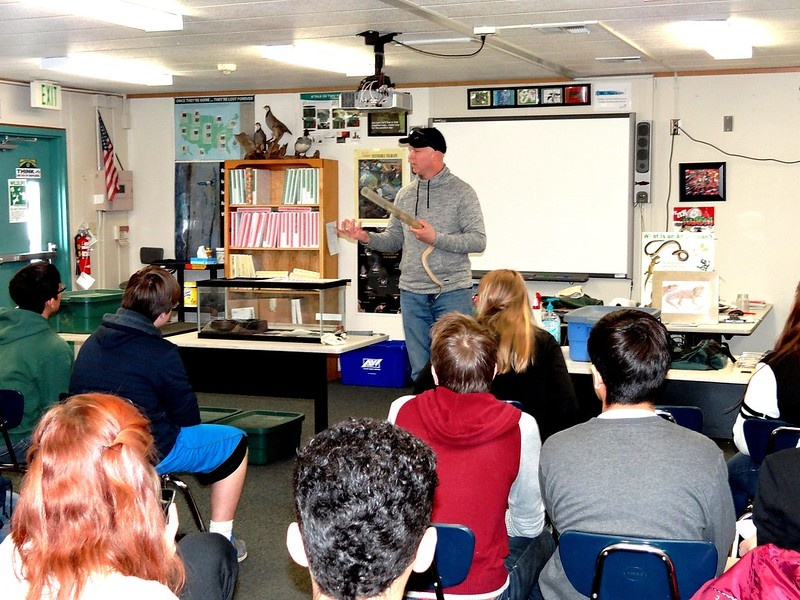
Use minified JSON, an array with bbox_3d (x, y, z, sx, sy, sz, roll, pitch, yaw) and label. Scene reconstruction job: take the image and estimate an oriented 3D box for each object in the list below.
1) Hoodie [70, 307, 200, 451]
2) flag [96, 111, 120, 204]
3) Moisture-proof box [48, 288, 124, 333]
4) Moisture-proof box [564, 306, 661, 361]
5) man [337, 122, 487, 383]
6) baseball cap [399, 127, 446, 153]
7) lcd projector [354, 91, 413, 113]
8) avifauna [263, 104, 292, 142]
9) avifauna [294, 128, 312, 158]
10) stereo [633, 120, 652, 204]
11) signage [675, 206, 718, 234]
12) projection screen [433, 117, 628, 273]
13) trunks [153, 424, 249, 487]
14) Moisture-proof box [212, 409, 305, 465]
[{"bbox_3d":[-1.320,0.415,3.007,0.520,0.721,0.224,0,12,3],"label":"Hoodie"},{"bbox_3d":[-3.876,-1.885,8.053,0.167,1.172,0.236,1,12,11],"label":"flag"},{"bbox_3d":[-3.026,0.143,6.015,0.847,0.358,0.680,3,0,39],"label":"Moisture-proof box"},{"bbox_3d":[1.302,0.185,4.117,0.581,0.272,0.723,1,1,27],"label":"Moisture-proof box"},{"bbox_3d":[0.131,-0.130,4.574,1.160,2.149,0.785,1,11,19],"label":"man"},{"bbox_3d":[0.181,-1.148,4.386,0.309,0.140,0.204,13,10,-10],"label":"baseball cap"},{"bbox_3d":[-0.099,-1.724,5.361,0.296,0.091,0.280,1,3,18],"label":"lcd projector"},{"bbox_3d":[-1.538,-2.216,7.624,0.330,0.457,0.420,-2,11,-6],"label":"avifauna"},{"bbox_3d":[-1.203,-1.952,7.571,0.217,0.330,0.364,-2,11,-8],"label":"avifauna"},{"bbox_3d":[2.698,-1.525,6.786,0.187,0.896,0.163,2,12,13],"label":"stereo"},{"bbox_3d":[3.240,-0.905,6.732,0.434,0.258,0.173,4,13,24],"label":"signage"},{"bbox_3d":[1.674,-1.150,7.366,0.216,1.808,2.689,-4,6,-37],"label":"projection screen"},{"bbox_3d":[-1.037,0.756,3.264,0.532,0.198,0.303,-13,20,-30],"label":"trunks"},{"bbox_3d":[-1.099,1.076,4.993,0.592,0.324,0.748,0,-2,28],"label":"Moisture-proof box"}]
